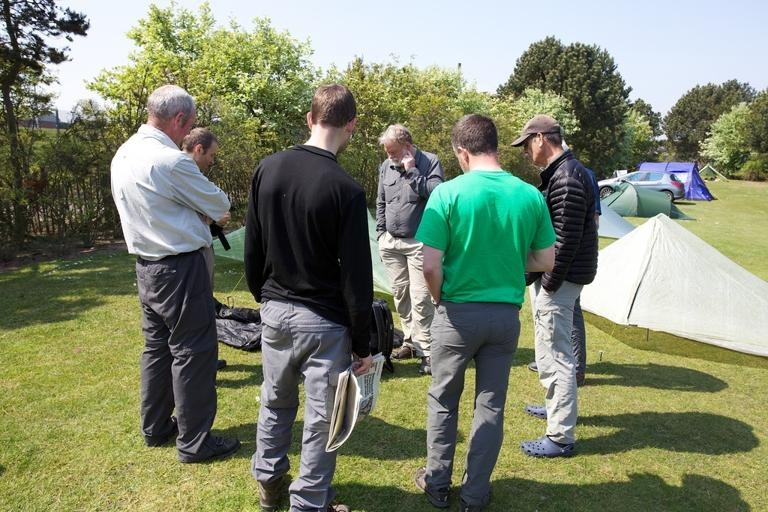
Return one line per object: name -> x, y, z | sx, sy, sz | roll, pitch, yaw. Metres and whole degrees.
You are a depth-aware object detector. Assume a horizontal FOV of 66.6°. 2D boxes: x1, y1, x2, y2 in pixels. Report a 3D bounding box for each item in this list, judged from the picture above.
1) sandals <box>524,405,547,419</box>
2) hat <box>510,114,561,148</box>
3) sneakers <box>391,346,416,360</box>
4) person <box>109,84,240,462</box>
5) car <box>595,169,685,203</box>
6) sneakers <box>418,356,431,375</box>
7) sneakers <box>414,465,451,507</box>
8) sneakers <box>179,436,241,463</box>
sandals -> 1.638, 1.678, 6.264 | 0.186, 0.076, 0.118 | 8, 47, 7
hat -> 1.537, -1.252, 5.903 | 0.444, 0.251, 0.295 | 1, 9, 13
sneakers -> 0.248, 1.204, 7.277 | 0.353, 0.153, 0.127 | 6, -7, -36
person -> -1.950, 0.167, 5.551 | 1.027, 3.521, 0.557 | 4, 9, 18
car -> 9.882, -2.661, 21.326 | 3.822, 1.348, 2.109 | 8, 12, 28
sneakers -> 0.469, 1.278, 6.924 | 0.218, 0.084, 0.286 | -2, 34, 12
sneakers -> 0.431, 2.142, 5.414 | 0.189, 0.189, 0.407 | 6, 26, -33
sneakers -> -1.666, 1.827, 5.604 | 0.533, 0.249, 0.211 | -10, 21, -31
